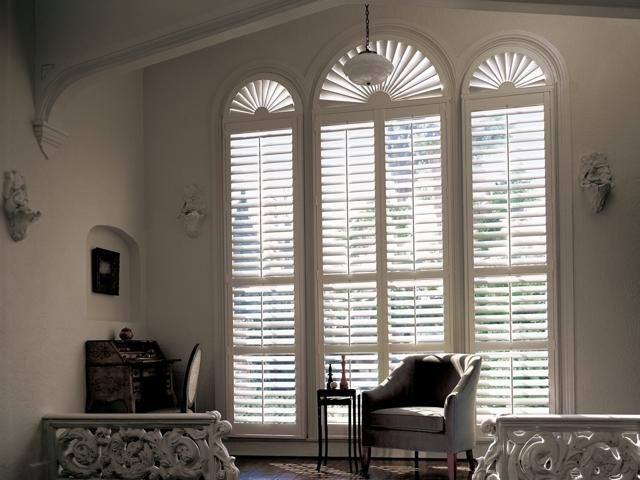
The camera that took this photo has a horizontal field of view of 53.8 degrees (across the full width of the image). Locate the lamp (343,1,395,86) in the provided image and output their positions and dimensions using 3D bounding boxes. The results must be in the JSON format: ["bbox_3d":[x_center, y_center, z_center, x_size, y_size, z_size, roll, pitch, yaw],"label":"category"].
[{"bbox_3d":[0.440,-1.813,5.705,0.420,0.958,0.738,-1,-6,5],"label":"lamp"}]

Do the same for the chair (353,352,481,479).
[{"bbox_3d":[0.858,1.579,5.724,0.987,1.174,1.051,-7,-18,29],"label":"chair"}]

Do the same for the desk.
[{"bbox_3d":[-1.742,1.379,6.032,0.522,0.785,0.941,-3,-9,11],"label":"desk"}]
